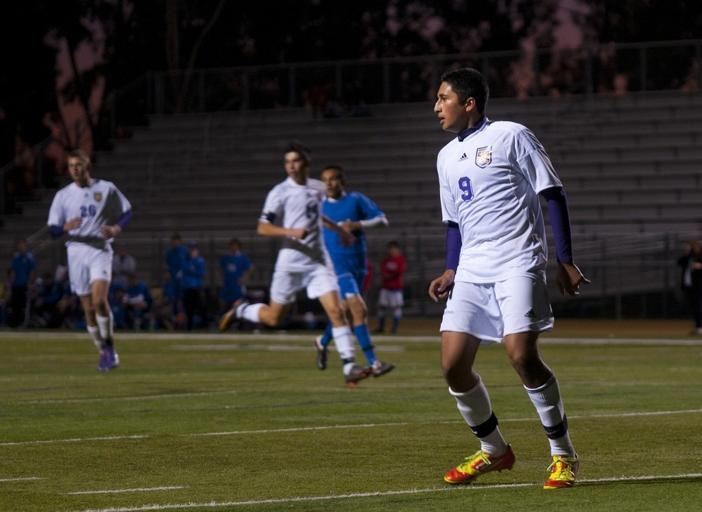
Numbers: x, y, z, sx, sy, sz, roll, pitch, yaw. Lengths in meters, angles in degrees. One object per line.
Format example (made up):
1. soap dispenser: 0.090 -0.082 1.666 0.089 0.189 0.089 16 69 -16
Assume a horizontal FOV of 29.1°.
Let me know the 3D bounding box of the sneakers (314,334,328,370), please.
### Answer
1. sneakers: -0.399 1.461 20.488 0.207 0.529 0.264 -11 10 -33

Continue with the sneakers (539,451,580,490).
1. sneakers: 2.413 2.494 15.592 0.241 0.216 0.578 -3 0 25

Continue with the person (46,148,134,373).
1. person: -3.948 0.104 20.536 1.183 3.446 0.760 -2 9 -9

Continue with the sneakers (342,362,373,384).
1. sneakers: 0.086 1.703 19.524 0.505 0.224 0.185 -29 -20 25

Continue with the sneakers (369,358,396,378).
1. sneakers: 0.421 1.652 19.903 0.465 0.201 0.165 -20 24 37
